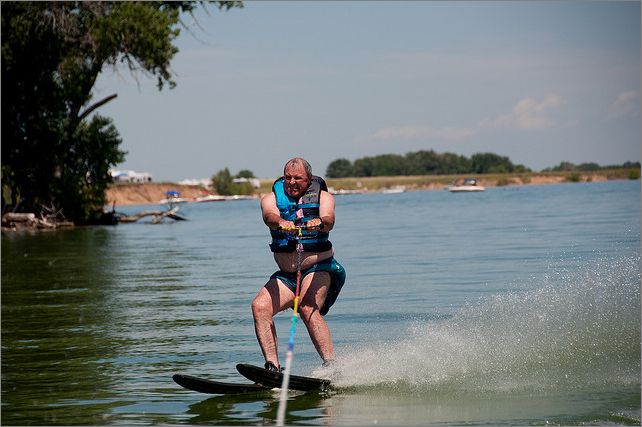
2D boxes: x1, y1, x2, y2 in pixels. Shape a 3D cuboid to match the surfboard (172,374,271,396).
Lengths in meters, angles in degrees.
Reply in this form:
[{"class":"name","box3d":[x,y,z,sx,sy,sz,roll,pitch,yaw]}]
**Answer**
[{"class":"surfboard","box3d":[-2.692,4.636,29.856,2.559,0.390,0.284,6,10,-3]}]
